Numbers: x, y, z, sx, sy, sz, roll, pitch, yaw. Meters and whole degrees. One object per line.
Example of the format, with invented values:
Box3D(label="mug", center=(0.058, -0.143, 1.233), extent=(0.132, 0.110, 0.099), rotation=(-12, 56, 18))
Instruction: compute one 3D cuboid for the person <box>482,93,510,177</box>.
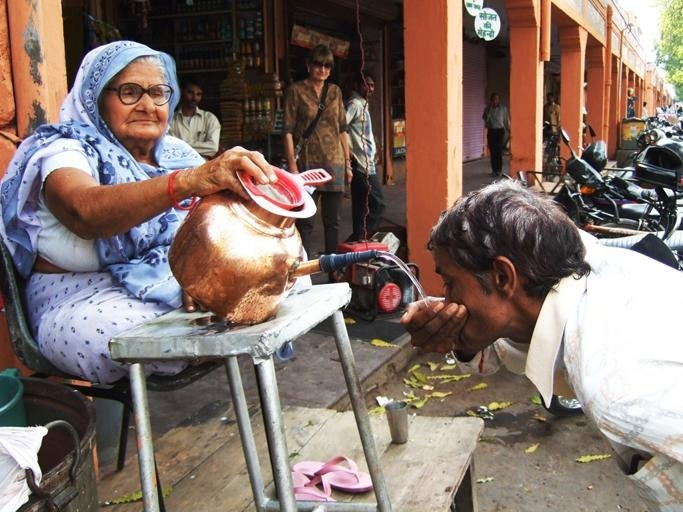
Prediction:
Box3D(label="person", center=(3.919, -3.048, 14.046), extent=(0.557, 2.012, 1.046), rotation=(2, 13, 15))

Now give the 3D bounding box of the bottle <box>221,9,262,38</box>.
Box3D(label="bottle", center=(-1.553, -3.557, 8.577), extent=(0.682, 0.415, 0.153), rotation=(0, 13, 7))

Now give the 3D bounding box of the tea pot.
Box3D(label="tea pot", center=(-0.224, -0.036, 1.661), extent=(0.537, 0.436, 0.255), rotation=(-10, 15, -31))

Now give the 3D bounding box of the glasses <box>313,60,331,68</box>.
Box3D(label="glasses", center=(-0.164, -1.872, 5.438), extent=(0.213, 0.054, 0.085), rotation=(-12, 17, -33))
